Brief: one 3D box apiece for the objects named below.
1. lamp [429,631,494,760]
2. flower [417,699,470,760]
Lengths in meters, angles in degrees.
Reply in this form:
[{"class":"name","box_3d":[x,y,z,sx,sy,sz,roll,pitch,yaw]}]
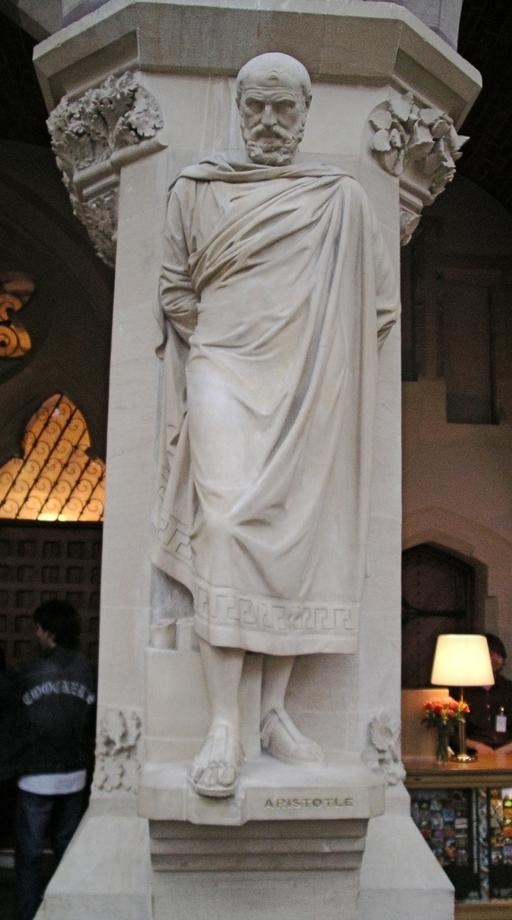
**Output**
[{"class":"lamp","box_3d":[1.184,1.328,6.525,0.350,0.379,0.829,13,52,1]},{"class":"flower","box_3d":[1.101,1.565,6.584,0.291,0.363,0.307,3,-4,-20]}]
